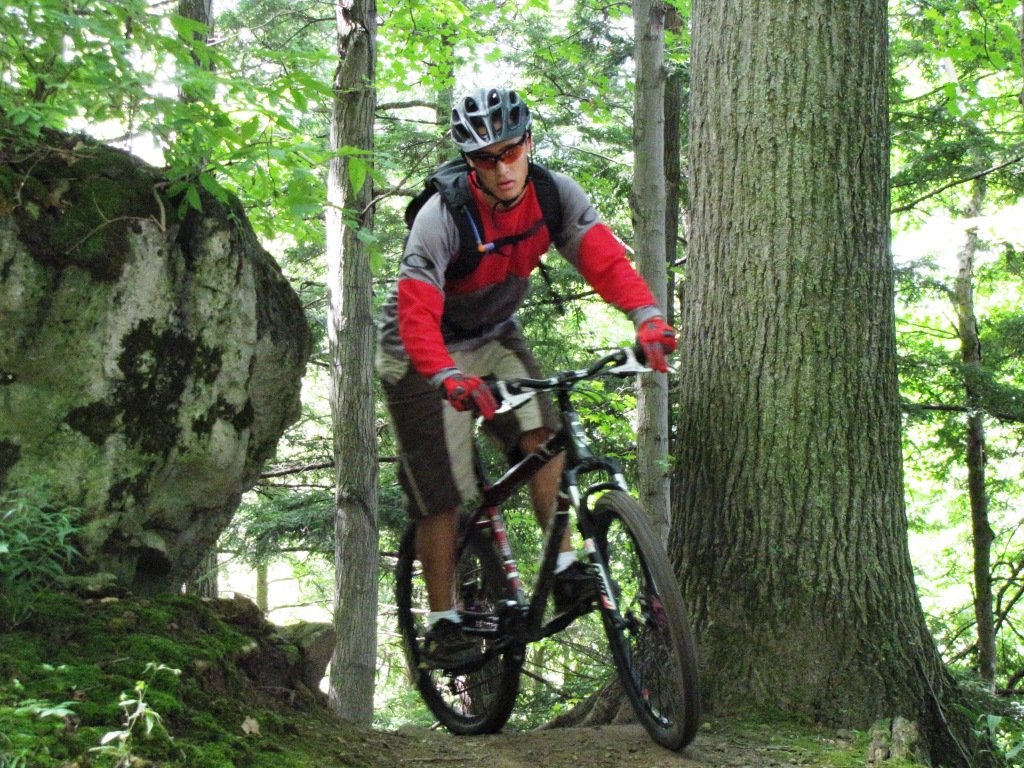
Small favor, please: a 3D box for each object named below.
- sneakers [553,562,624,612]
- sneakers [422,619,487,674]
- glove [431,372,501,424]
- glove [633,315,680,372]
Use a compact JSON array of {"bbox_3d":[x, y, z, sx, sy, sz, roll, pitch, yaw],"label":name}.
[{"bbox_3d":[0.499,1.313,8.638,0.261,0.240,0.632,-33,9,-35],"label":"sneakers"},{"bbox_3d":[-0.423,1.867,9.194,0.225,0.280,0.582,0,-8,-17],"label":"sneakers"},{"bbox_3d":[-0.286,0.078,8.487,0.265,0.345,0.101,-41,6,-22],"label":"glove"},{"bbox_3d":[0.955,-0.262,8.563,0.242,0.353,0.137,-5,-9,-2],"label":"glove"}]
